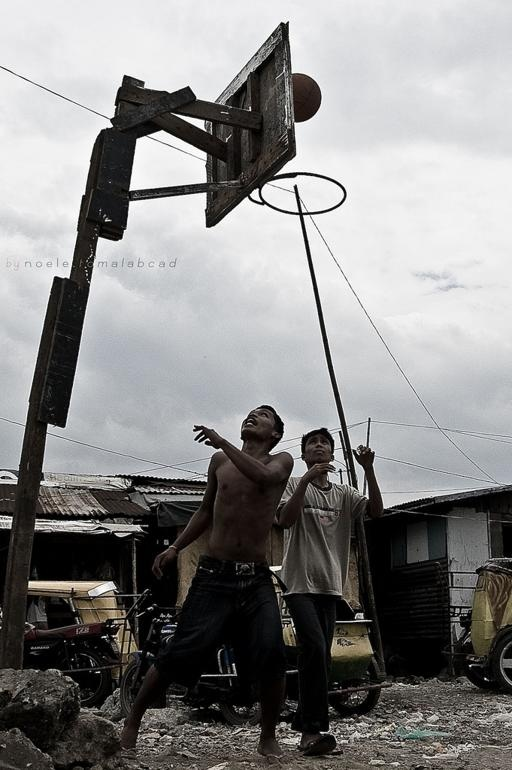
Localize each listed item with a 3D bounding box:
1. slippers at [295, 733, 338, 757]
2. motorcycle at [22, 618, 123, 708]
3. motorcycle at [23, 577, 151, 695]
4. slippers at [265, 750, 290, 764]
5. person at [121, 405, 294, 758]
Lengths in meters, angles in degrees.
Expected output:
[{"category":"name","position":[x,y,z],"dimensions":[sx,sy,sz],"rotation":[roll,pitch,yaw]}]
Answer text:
[{"category":"slippers","position":[0.282,1.676,3.138],"dimensions":[0.085,0.102,0.235],"rotation":[19,-38,-29]},{"category":"motorcycle","position":[-2.161,3.236,7.969],"dimensions":[1.125,0.847,0.649],"rotation":[9,3,-11]},{"category":"motorcycle","position":[-2.175,3.163,8.902],"dimensions":[2.259,1.120,1.246],"rotation":[4,-36,3]},{"category":"slippers","position":[0.096,1.556,2.812],"dimensions":[0.066,0.034,0.091],"rotation":[2,-8,-24]},{"category":"person","position":[-0.125,0.925,3.104],"dimensions":[0.712,1.417,0.746],"rotation":[10,2,-5]}]
